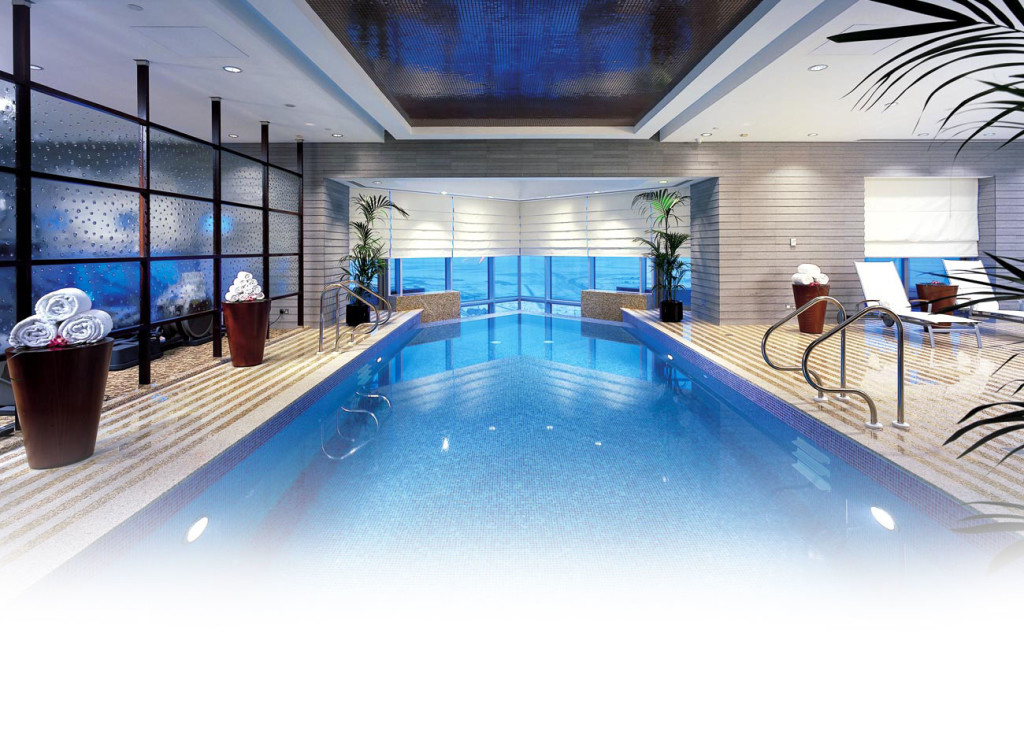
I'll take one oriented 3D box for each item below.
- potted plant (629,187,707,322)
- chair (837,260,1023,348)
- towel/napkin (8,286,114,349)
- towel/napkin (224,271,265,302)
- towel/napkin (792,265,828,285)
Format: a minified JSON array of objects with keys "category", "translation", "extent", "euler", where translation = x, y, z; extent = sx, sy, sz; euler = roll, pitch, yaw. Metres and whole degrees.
[{"category":"potted plant","translation":[3.656,-2.937,13.008],"extent":[1.397,3.142,2.637],"euler":[3,11,17]},{"category":"chair","translation":[7.328,-1.329,9.609],"extent":[1.979,1.380,2.662],"euler":[5,12,28]},{"category":"towel/napkin","translation":[-3.220,-0.399,3.824],"extent":[0.493,0.290,0.616],"euler":[-6,5,-22]},{"category":"towel/napkin","translation":[-3.516,-1.149,7.185],"extent":[0.579,0.499,0.214],"euler":[1,-11,-8]},{"category":"towel/napkin","translation":[5.703,-1.864,10.233],"extent":[0.554,0.261,0.591],"euler":[1,7,18]}]
